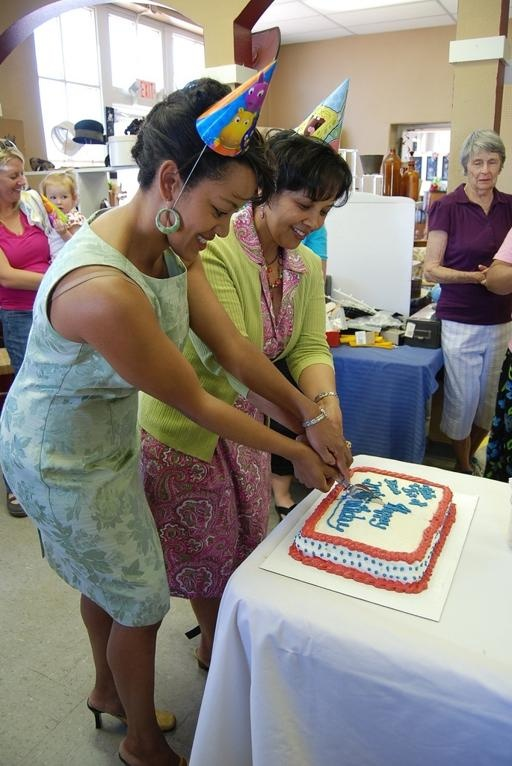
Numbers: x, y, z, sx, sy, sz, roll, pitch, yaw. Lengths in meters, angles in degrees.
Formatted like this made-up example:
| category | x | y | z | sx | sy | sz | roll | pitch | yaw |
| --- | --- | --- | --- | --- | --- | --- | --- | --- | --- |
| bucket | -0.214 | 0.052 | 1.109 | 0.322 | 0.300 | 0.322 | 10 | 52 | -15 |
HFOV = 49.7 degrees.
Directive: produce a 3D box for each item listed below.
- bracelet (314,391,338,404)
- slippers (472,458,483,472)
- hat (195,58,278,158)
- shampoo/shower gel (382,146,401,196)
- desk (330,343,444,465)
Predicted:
| category | x | y | z | sx | sy | sz | roll | pitch | yaw |
| --- | --- | --- | --- | --- | --- | --- | --- | --- | --- |
| bracelet | 0.162 | 0.036 | 1.223 | 0.030 | 0.013 | 0.033 | 4 | -14 | -41 |
| slippers | 1.192 | 0.447 | 2.981 | 0.061 | 0.080 | 0.028 | -3 | -20 | -43 |
| hat | -0.019 | -0.375 | 0.755 | 0.069 | 0.134 | 0.162 | 5 | 16 | 28 |
| shampoo/shower gel | 0.749 | -1.155 | 3.019 | 0.100 | 0.273 | 0.346 | 1 | 15 | 13 |
| desk | 0.571 | 0.059 | 2.490 | 0.486 | 0.369 | 0.488 | 4 | 23 | 15 |
